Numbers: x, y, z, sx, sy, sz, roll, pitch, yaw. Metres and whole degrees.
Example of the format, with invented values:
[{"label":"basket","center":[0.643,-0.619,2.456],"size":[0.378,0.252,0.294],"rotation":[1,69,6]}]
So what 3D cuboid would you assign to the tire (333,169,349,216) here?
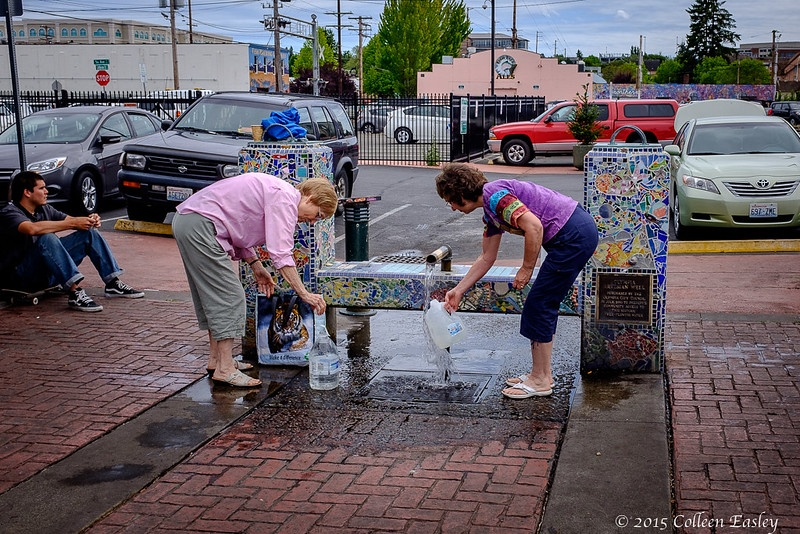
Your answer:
[{"label":"tire","center":[-1.304,-1.597,13.958],"size":[0.227,0.597,0.642],"rotation":[0,13,12]}]

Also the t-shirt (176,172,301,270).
[{"label":"t-shirt","center":[-1.324,-0.305,5.570],"size":[0.924,0.627,0.914],"rotation":[3,7,-20]}]

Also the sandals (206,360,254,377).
[{"label":"sandals","center":[-1.542,0.902,6.123],"size":[0.411,0.097,0.155],"rotation":[-8,15,-40]}]

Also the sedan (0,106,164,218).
[{"label":"sedan","center":[-6.615,-2.255,14.249],"size":[2.301,1.584,3.769],"rotation":[1,6,16]}]

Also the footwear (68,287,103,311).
[{"label":"footwear","center":[-3.614,0.362,7.713],"size":[0.397,0.264,0.266],"rotation":[-5,15,-8]}]

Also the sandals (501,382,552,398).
[{"label":"sandals","center":[1.023,1.005,5.531],"size":[0.286,0.075,0.149],"rotation":[2,2,-3]}]

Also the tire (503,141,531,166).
[{"label":"tire","center":[3.994,-3.934,23.301],"size":[0.634,0.623,0.221],"rotation":[-39,7,15]}]

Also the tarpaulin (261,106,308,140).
[{"label":"tarpaulin","center":[-1.124,-1.346,6.396],"size":[0.429,0.185,0.326],"rotation":[11,22,22]}]

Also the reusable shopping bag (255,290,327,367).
[{"label":"reusable shopping bag","center":[-0.999,0.513,6.427],"size":[0.721,0.848,0.474],"rotation":[-3,2,24]}]

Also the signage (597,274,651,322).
[{"label":"signage","center":[1.870,0.262,5.711],"size":[0.586,0.454,0.063],"rotation":[3,-4,-20]}]

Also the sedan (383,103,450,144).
[{"label":"sedan","center":[0.692,-6.698,32.026],"size":[2.418,1.734,4.116],"rotation":[-9,16,-23]}]

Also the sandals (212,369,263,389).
[{"label":"sandals","center":[-1.421,0.980,5.897],"size":[0.413,0.119,0.160],"rotation":[2,8,3]}]

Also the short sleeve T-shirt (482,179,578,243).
[{"label":"short sleeve T-shirt","center":[0.991,-0.443,5.256],"size":[0.682,0.374,0.493],"rotation":[12,20,5]}]

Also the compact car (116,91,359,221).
[{"label":"compact car","center":[-2.661,-2.174,13.427],"size":[2.673,1.827,4.679],"rotation":[7,10,25]}]
